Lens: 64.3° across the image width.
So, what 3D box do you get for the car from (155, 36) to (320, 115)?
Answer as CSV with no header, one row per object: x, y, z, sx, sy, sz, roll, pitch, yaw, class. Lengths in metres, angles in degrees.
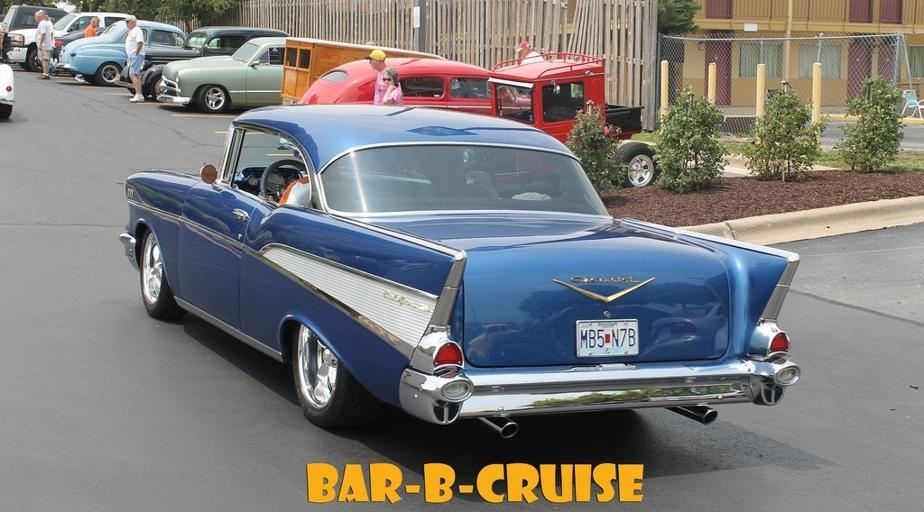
-7.366,-5.660,24.022,4.758,1.486,2.645,0,8,-18,car

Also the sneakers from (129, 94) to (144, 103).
-10.841,-5.212,24.380,0.592,0.262,0.269,6,11,31,sneakers

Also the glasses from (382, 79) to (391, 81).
-1.437,-3.352,14.007,0.158,0.056,0.181,1,0,2,glasses

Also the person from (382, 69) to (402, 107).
-1.348,-3.228,14.035,0.337,0.660,0.893,-1,10,-7,person
